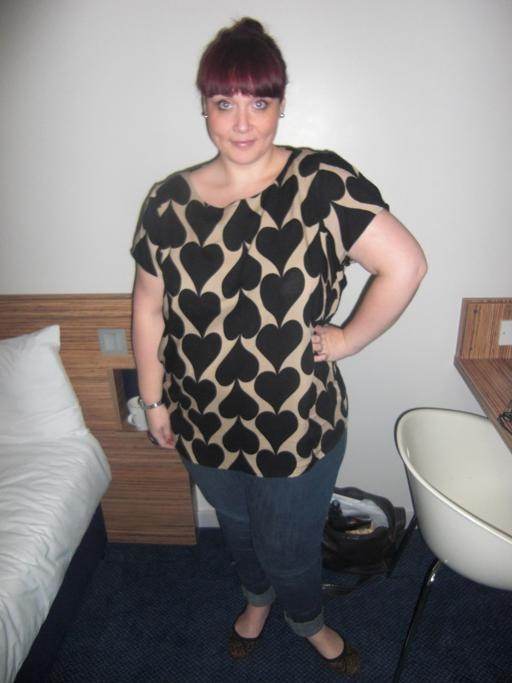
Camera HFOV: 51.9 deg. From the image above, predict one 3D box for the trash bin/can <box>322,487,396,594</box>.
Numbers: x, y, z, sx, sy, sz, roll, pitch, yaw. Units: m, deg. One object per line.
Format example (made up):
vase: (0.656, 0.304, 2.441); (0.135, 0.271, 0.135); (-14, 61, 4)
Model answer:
trash bin/can: (0.321, 0.648, 1.779); (0.252, 0.326, 0.138); (15, -8, -12)

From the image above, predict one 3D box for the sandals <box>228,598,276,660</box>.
sandals: (-0.011, 0.864, 1.578); (0.072, 0.081, 0.211); (1, -10, 14)

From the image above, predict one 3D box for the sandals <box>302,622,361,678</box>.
sandals: (0.214, 0.873, 1.547); (0.095, 0.191, 0.046); (-44, -6, -8)
